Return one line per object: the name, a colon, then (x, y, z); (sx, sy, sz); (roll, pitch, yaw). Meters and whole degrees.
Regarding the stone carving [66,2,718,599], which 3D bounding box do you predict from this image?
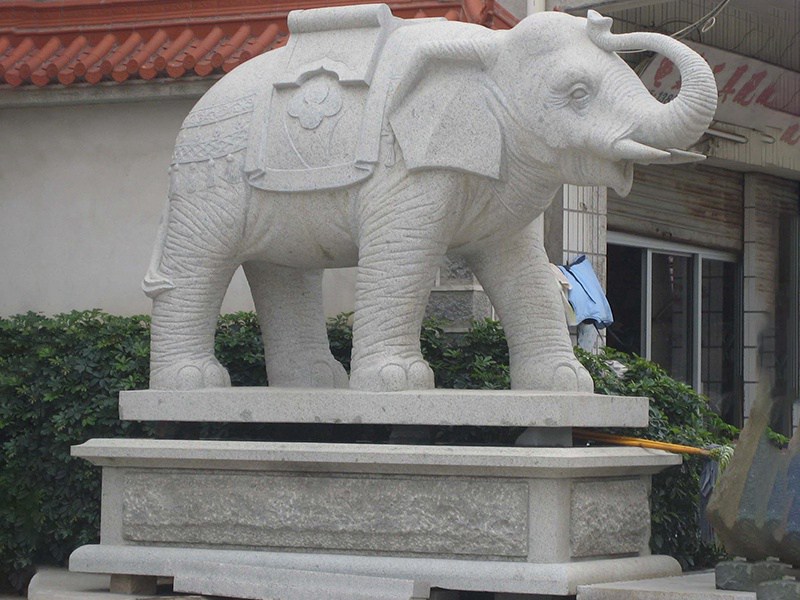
stone carving: (-0.232, 0.046, 11.466); (3.770, 3.402, 1.692); (-1, -5, 22)
